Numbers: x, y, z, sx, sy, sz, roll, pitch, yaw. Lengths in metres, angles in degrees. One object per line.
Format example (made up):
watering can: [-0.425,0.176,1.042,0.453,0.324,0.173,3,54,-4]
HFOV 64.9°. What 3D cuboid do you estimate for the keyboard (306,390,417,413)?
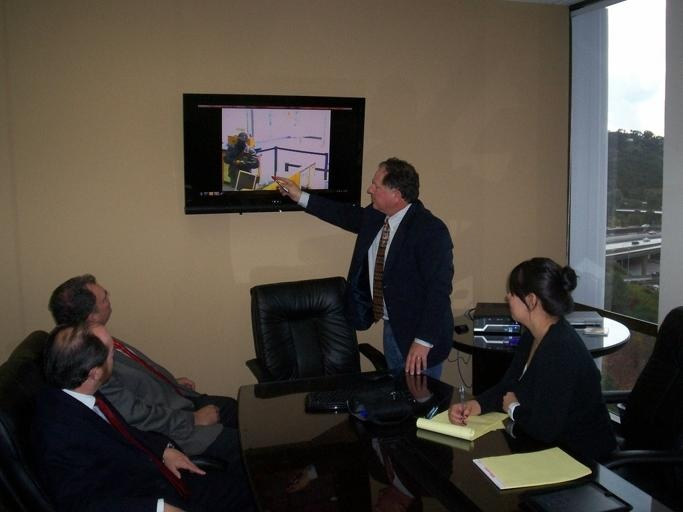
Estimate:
keyboard: [0.055,0.697,2.597,0.345,0.055,0.196,1,0,-5]

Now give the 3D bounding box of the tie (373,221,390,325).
tie: [0.255,0.106,3.478,0.100,0.645,0.061,12,-10,-40]

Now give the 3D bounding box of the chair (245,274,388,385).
chair: [-0.215,0.491,3.694,0.609,0.903,0.710,-6,0,-16]

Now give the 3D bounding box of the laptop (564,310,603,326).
laptop: [1.642,0.425,3.646,0.170,0.044,0.167,-2,11,-5]

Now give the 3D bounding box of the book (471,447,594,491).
book: [0.749,0.828,2.083,0.245,0.046,0.171,-6,12,-11]
